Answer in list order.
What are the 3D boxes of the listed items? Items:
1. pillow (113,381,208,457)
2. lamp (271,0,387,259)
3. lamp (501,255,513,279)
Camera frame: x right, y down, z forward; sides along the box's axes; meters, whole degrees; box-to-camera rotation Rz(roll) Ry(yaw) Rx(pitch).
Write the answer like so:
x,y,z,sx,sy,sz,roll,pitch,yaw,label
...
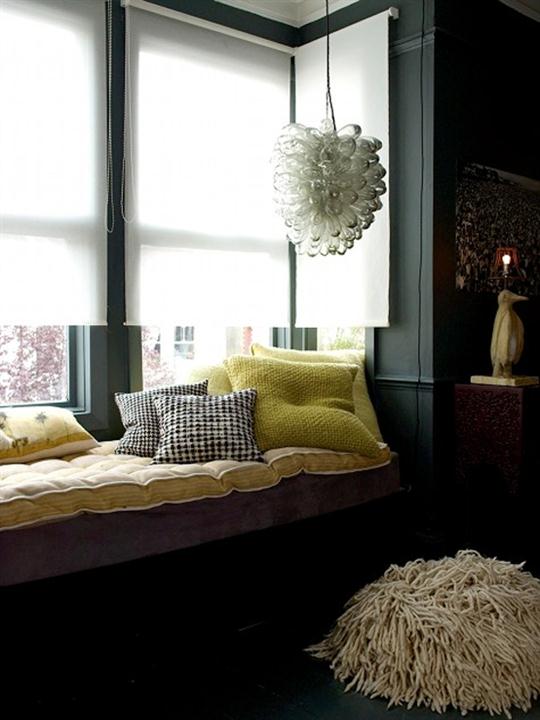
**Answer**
x,y,z,sx,sy,sz,roll,pitch,yaw,label
-0.533,0.251,2.397,0.085,0.286,0.285,-15,-11,41,pillow
0.198,-0.629,2.099,0.418,0.508,0.324,4,9,9,lamp
1.223,-0.483,3.028,0.100,0.128,0.040,-5,12,-43,lamp
